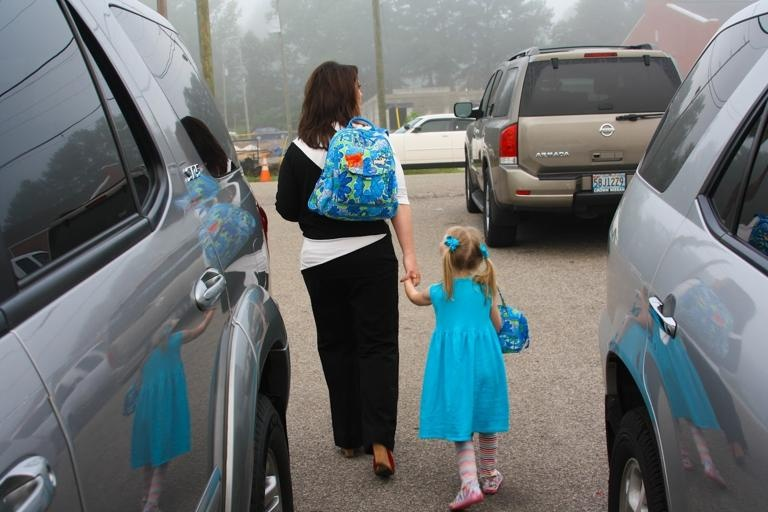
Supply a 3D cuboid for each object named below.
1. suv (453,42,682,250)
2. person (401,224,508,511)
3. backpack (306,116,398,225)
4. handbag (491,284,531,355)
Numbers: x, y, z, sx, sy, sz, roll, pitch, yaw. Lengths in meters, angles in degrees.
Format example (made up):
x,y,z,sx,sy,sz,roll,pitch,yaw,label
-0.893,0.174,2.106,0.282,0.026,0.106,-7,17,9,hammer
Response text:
x,y,z,sx,sy,sz,roll,pitch,yaw,label
3.039,-2.223,9.727,2.865,2.688,5.756,-3,15,0,suv
0.424,0.623,2.940,0.539,1.473,0.640,-3,13,2,person
-0.145,-0.497,3.022,0.506,0.579,0.299,-2,12,-23,backpack
0.738,0.383,3.182,0.255,0.388,0.166,-5,23,34,handbag
